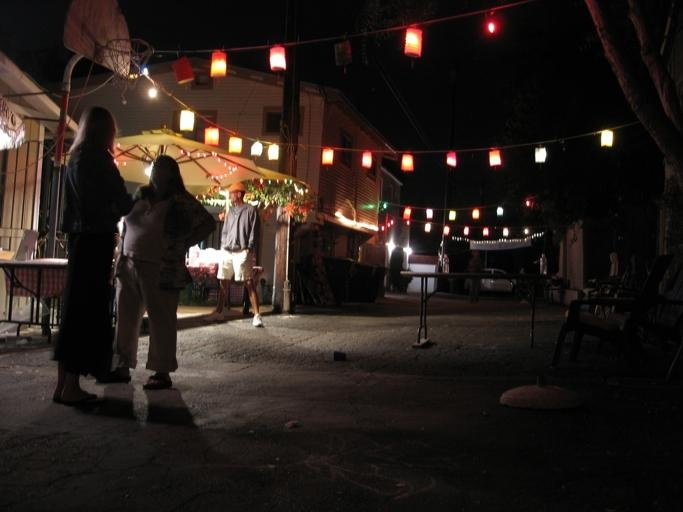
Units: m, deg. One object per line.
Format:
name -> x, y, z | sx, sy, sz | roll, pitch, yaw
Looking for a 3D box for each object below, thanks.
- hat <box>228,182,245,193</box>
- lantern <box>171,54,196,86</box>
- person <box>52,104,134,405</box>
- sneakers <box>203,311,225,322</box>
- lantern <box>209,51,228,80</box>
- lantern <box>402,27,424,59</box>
hat -> -1.960, -1.283, 10.245 | 0.264, 0.164, 0.207 | 6, 5, 13
lantern -> -3.280, -3.846, 11.544 | 0.325, 0.633, 1.078 | 0, 2, -13
person -> -2.280, 0.126, 5.055 | 0.629, 2.339, 0.386 | 0, 2, -18
sneakers -> -2.386, 1.150, 10.374 | 0.371, 0.172, 0.209 | 7, -10, -25
lantern -> -2.575, -4.018, 11.657 | 0.271, 0.512, 0.481 | 0, 2, -19
lantern -> 1.279, -3.810, 10.056 | 0.302, 0.517, 0.237 | 1, 2, 6
